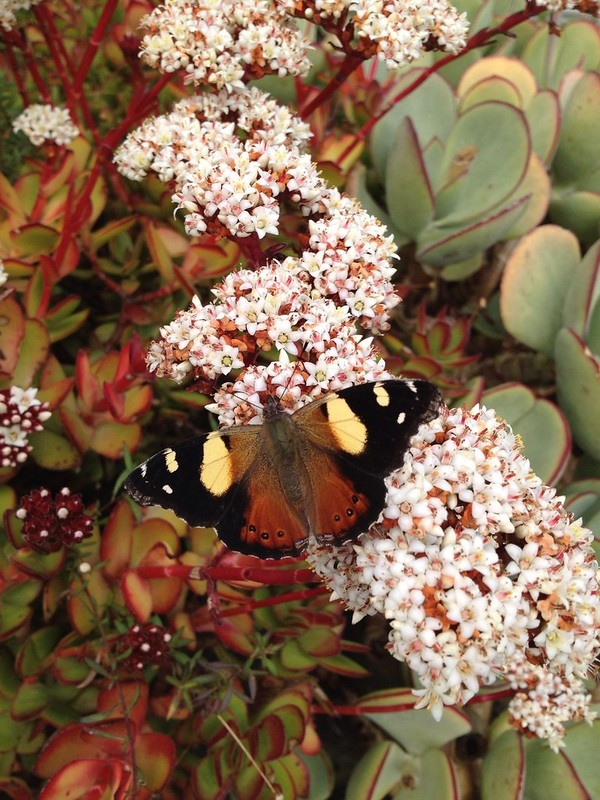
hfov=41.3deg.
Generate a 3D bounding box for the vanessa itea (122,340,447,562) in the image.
[{"bbox_3d":[-0.015,0.148,1.605,0.718,0.108,0.319,-17,77,23],"label":"vanessa itea"}]
